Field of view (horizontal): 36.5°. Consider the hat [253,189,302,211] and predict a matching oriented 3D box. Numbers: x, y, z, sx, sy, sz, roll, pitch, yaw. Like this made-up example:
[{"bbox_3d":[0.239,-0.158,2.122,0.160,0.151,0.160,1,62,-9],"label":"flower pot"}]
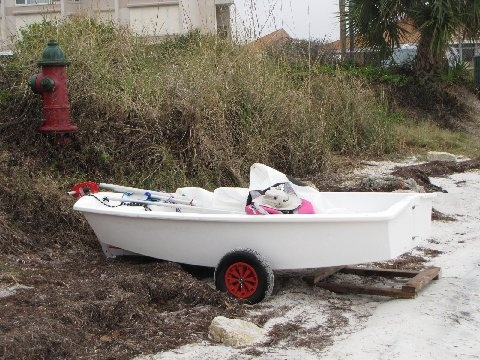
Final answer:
[{"bbox_3d":[0.402,0.205,7.911,0.303,0.087,0.304,11,20,20],"label":"hat"}]
